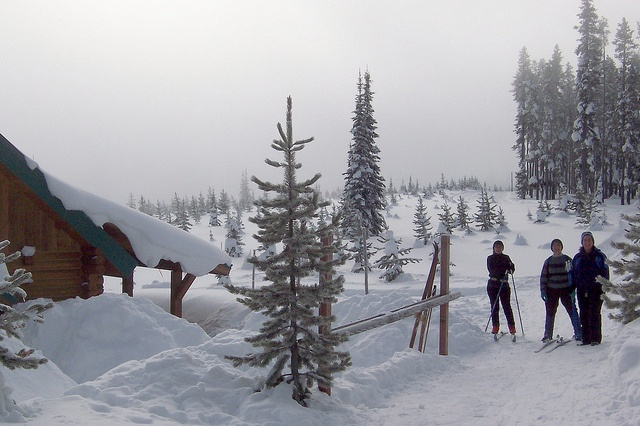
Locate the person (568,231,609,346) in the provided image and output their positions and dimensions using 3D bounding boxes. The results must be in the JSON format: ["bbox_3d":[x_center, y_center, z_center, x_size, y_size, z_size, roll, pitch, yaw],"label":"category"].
[{"bbox_3d":[10.109,2.795,24.423,1.240,4.158,0.543,-3,-3,25],"label":"person"}]

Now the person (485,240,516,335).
[{"bbox_3d":[7.386,3.013,26.504,1.060,3.811,1.038,-3,-3,17],"label":"person"}]
